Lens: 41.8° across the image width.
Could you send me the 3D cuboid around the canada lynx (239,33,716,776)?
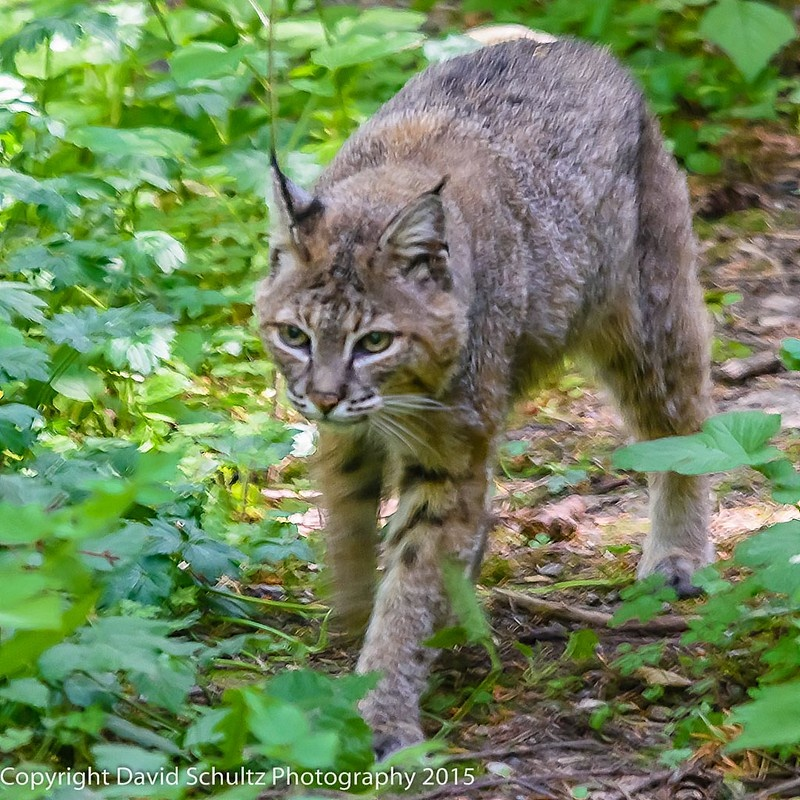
[{"bbox_3d":[0.281,-0.234,3.715,0.721,2.428,1.851,4,3,39],"label":"canada lynx"}]
